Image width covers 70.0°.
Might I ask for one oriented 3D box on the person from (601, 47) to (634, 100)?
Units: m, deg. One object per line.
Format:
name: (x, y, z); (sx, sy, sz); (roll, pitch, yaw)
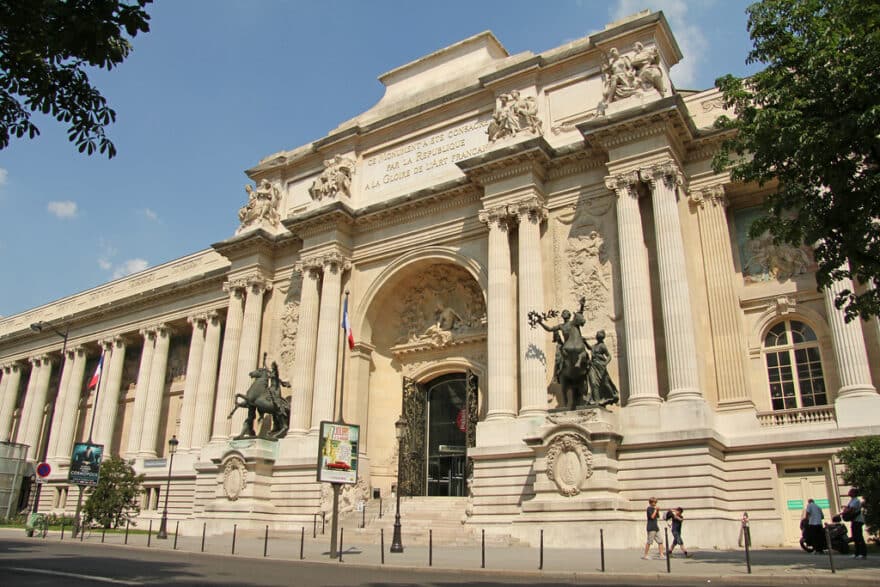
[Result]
person: (8.991, -11.198, 31.823); (1.593, 3.336, 0.579); (-17, -32, 34)

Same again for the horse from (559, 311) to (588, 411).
horse: (5.978, 2.988, 28.004); (1.372, 4.111, 1.802); (-3, -27, 10)
